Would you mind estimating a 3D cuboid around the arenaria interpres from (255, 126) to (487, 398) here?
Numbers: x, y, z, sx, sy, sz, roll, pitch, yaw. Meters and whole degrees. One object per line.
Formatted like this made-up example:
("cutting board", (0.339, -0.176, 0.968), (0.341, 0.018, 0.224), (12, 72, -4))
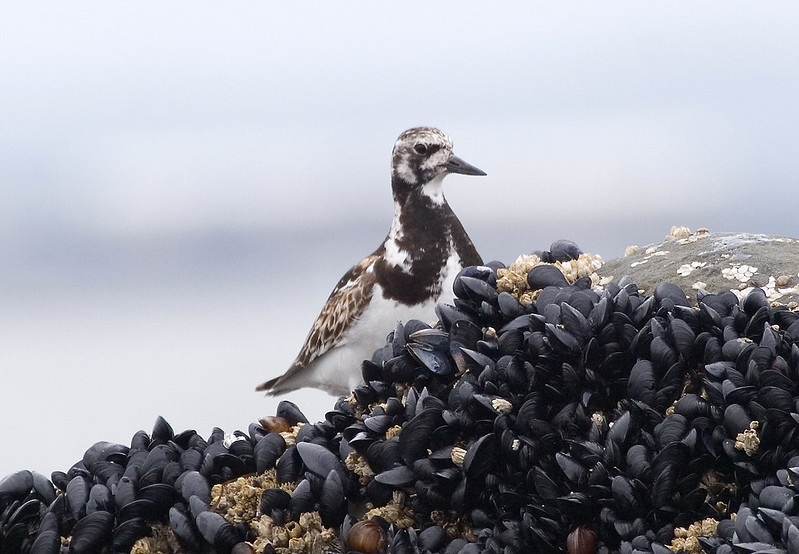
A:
("arenaria interpres", (-0.088, 0.134, 11.028), (1.523, 2.587, 2.148), (5, -8, -38))
